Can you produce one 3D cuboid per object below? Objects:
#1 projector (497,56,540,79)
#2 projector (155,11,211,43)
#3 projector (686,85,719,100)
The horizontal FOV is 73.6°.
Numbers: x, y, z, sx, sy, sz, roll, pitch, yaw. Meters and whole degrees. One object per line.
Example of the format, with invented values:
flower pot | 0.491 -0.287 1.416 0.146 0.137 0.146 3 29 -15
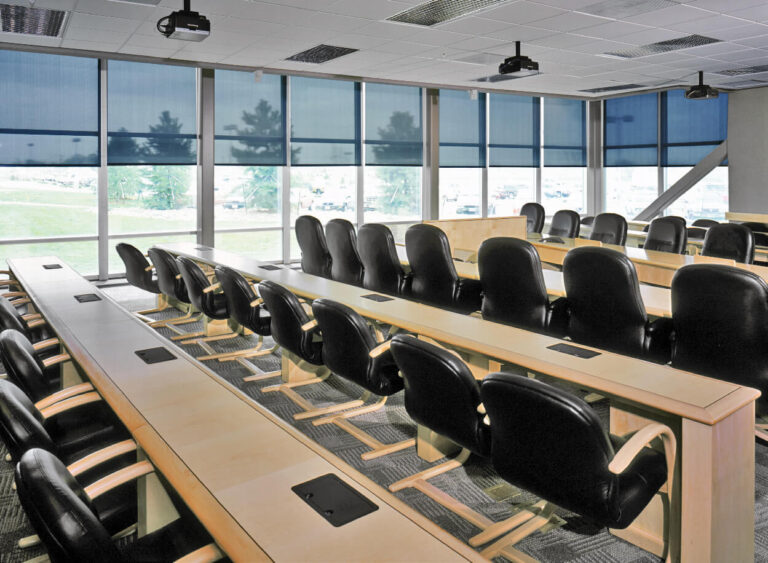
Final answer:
projector | 1.815 -2.950 6.970 0.367 0.279 0.482 -7 14 -21
projector | -1.977 -2.533 5.077 0.331 0.271 0.373 -11 17 -34
projector | 5.740 -3.381 9.258 0.518 0.179 0.461 -3 5 -28
